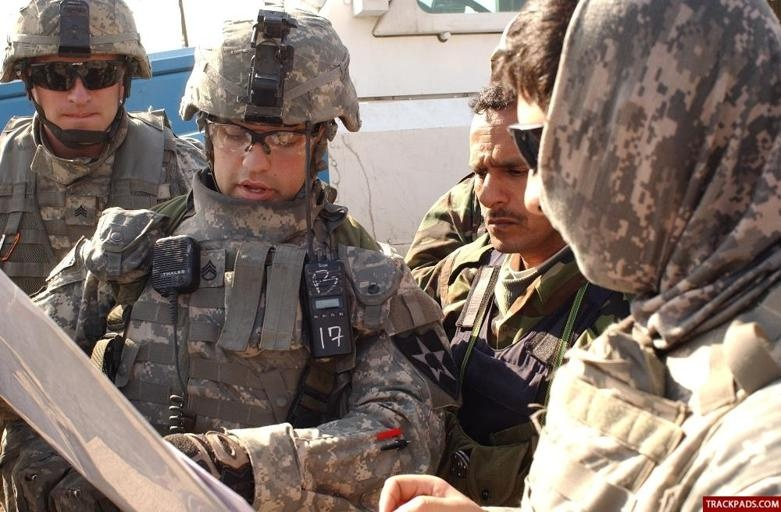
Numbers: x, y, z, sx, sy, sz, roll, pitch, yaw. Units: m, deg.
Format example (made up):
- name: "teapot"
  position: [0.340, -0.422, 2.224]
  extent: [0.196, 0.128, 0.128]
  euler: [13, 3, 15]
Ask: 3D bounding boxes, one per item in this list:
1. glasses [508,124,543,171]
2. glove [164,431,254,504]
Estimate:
- name: "glasses"
  position: [0.351, -0.283, 2.108]
  extent: [0.102, 0.110, 0.032]
  euler: [-2, -5, 19]
- name: "glove"
  position: [-0.575, 0.650, 2.761]
  extent: [0.288, 0.276, 0.221]
  euler: [4, 10, -33]
